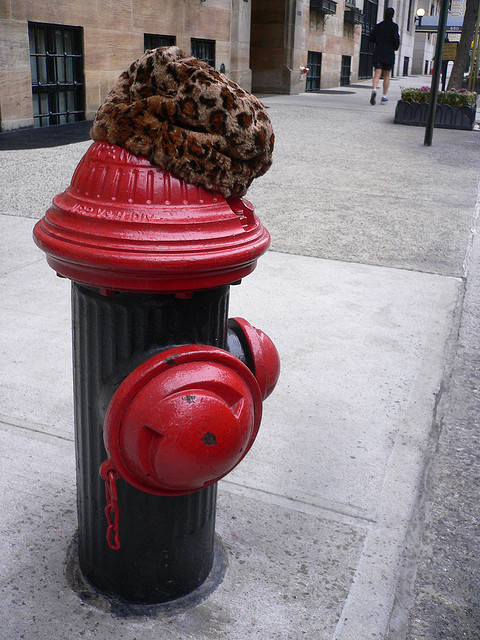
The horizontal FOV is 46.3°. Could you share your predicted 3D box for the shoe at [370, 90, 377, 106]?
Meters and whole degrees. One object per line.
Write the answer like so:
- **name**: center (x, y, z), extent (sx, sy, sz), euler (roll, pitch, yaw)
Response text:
- **shoe**: center (4.591, -7.706, 19.448), extent (0.242, 0.502, 0.220), euler (4, 36, 10)
